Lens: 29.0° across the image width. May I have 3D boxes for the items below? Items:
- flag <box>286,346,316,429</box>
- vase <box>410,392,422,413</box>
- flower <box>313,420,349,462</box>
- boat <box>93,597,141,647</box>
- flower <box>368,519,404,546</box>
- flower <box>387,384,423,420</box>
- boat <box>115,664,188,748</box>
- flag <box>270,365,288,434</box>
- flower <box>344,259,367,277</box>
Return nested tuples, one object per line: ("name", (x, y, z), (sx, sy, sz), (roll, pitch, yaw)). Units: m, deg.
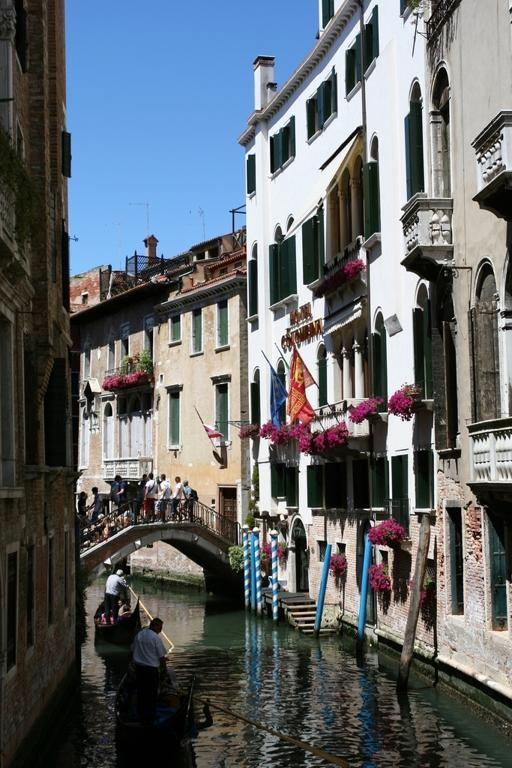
("flag", (1.043, 0.005, 23.442), (0.680, 0.209, 2.398), (-6, -54, 1))
("vase", (2.684, 0.287, 16.628), (0.149, 0.325, 0.470), (-1, -6, -18))
("flower", (1.617, 1.209, 21.773), (0.705, 0.670, 2.133), (-3, -6, 3))
("boat", (-3.272, 5.574, 22.856), (0.506, 1.218, 2.736), (3, -21, -14))
("flower", (2.392, 2.705, 18.032), (0.410, 0.556, 0.440), (0, -7, 17))
("flower", (2.514, 0.296, 16.902), (0.270, 0.560, 0.501), (6, 4, -20))
("boat", (-1.179, 3.597, 11.297), (0.851, 0.789, 1.167), (-2, -6, -10))
("flag", (0.529, 0.308, 26.571), (0.485, 0.153, 1.763), (-11, -56, -6))
("flower", (2.083, -2.503, 21.429), (0.159, 0.386, 1.032), (-1, -6, -14))
